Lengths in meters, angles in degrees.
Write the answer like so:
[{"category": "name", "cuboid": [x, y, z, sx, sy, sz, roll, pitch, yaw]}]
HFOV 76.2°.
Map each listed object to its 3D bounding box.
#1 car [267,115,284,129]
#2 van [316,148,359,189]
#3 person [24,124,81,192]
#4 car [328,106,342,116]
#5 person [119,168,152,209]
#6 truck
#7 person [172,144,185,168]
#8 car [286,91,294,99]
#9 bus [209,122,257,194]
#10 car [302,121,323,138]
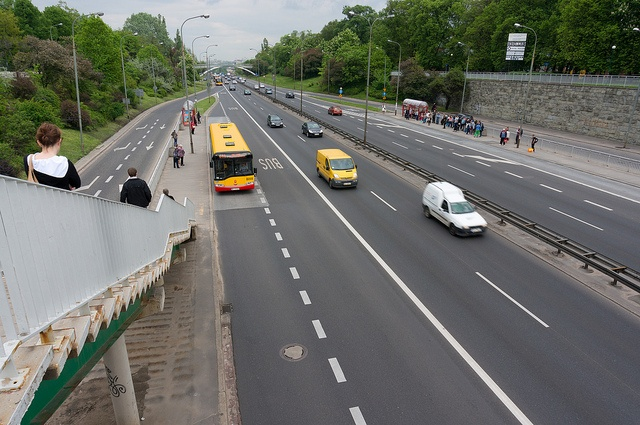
[{"category": "car", "cuboid": [-6.051, -12.396, 55.442, 1.862, 1.430, 2.491, -7, 20, -19]}, {"category": "van", "cuboid": [1.289, -3.363, 31.044, 1.873, 1.755, 3.962, -8, 24, -12]}, {"category": "person", "cuboid": [-5.998, -1.216, 9.082, 0.937, 1.526, 0.449, -14, 23, -36]}, {"category": "car", "cuboid": [2.364, -16.844, 66.984, 1.204, 1.110, 2.180, -5, 13, -13]}, {"category": "person", "cuboid": [-6.202, -0.804, 13.644, 0.819, 1.317, 1.168, 0, 19, 2]}, {"category": "truck", "cuboid": [7.688, -0.326, 23.510, 1.929, 1.980, 3.956, -10, 26, -15]}, {"category": "person", "cuboid": [-12.104, -4.830, 34.974, 0.676, 1.797, 1.377, 1, 18, 3]}, {"category": "car", "cuboid": [-7.092, -28.188, 97.050, 1.301, 1.005, 2.885, -2, 26, -7]}, {"category": "bus", "cuboid": [-6.881, -4.010, 31.340, 2.796, 3.690, 6.117, -5, 20, -15]}, {"category": "car", "cuboid": [-0.927, -10.004, 48.988, 1.680, 1.505, 3.083, -9, 21, -23]}]
